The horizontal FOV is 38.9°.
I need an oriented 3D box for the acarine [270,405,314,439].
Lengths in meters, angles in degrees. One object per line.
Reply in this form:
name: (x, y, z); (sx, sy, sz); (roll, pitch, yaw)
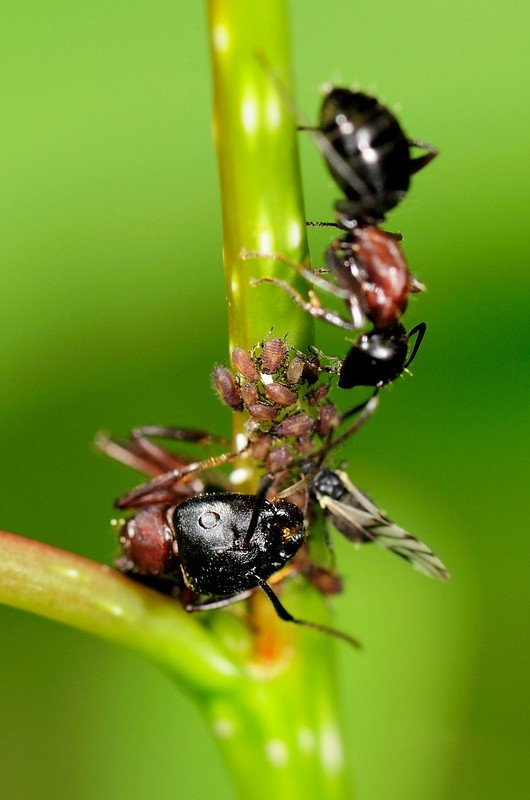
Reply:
acarine: (0.048, 0.044, 1.248); (0.058, 0.038, 0.018); (-9, 19, -1)

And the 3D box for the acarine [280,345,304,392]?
acarine: (0.042, -0.045, 1.178); (0.052, 0.047, 0.016); (8, 39, 2)

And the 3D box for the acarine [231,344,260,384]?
acarine: (-0.022, -0.054, 1.142); (0.016, 0.049, 0.032); (-46, 28, -19)

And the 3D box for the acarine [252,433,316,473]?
acarine: (0.032, 0.090, 1.257); (0.081, 0.064, 0.023); (-22, 29, -7)

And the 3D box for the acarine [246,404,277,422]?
acarine: (-0.007, 0.024, 1.214); (0.039, 0.029, 0.011); (4, 24, -2)

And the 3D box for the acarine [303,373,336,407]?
acarine: (0.092, -0.011, 1.276); (0.049, 0.034, 0.012); (-49, 30, -20)

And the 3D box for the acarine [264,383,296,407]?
acarine: (0.024, -0.010, 1.211); (0.029, 0.046, 0.015); (-47, 18, -2)

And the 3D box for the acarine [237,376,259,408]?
acarine: (-0.030, -0.012, 1.205); (0.039, 0.036, 0.011); (13, 41, 17)

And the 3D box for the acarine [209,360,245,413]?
acarine: (-0.062, -0.021, 1.235); (0.025, 0.072, 0.051); (-29, 16, -8)

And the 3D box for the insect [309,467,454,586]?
insect: (0.231, 0.198, 1.359); (0.110, 0.136, 0.356); (-36, 24, -21)

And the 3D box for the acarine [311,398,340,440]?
acarine: (0.103, 0.033, 1.280); (0.045, 0.055, 0.019); (11, 0, -11)

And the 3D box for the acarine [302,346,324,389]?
acarine: (0.075, -0.051, 1.218); (0.038, 0.052, 0.018); (-11, 32, -38)

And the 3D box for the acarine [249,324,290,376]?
acarine: (0.009, -0.074, 1.134); (0.055, 0.064, 0.019); (9, 35, -20)
